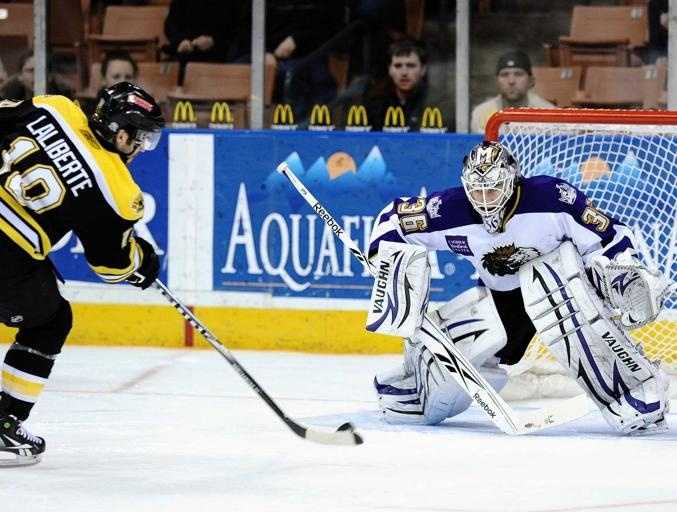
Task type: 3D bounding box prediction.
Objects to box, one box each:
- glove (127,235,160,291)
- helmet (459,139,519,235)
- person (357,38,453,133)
[{"bbox_3d":[-0.779,0.036,4.350,0.156,0.192,0.175,-18,-16,-8],"label":"glove"},{"bbox_3d":[0.661,-0.315,4.545,0.267,0.343,0.335,-3,19,15],"label":"helmet"},{"bbox_3d":[0.402,-0.989,6.009,0.562,0.722,0.272,-2,1,5],"label":"person"}]
